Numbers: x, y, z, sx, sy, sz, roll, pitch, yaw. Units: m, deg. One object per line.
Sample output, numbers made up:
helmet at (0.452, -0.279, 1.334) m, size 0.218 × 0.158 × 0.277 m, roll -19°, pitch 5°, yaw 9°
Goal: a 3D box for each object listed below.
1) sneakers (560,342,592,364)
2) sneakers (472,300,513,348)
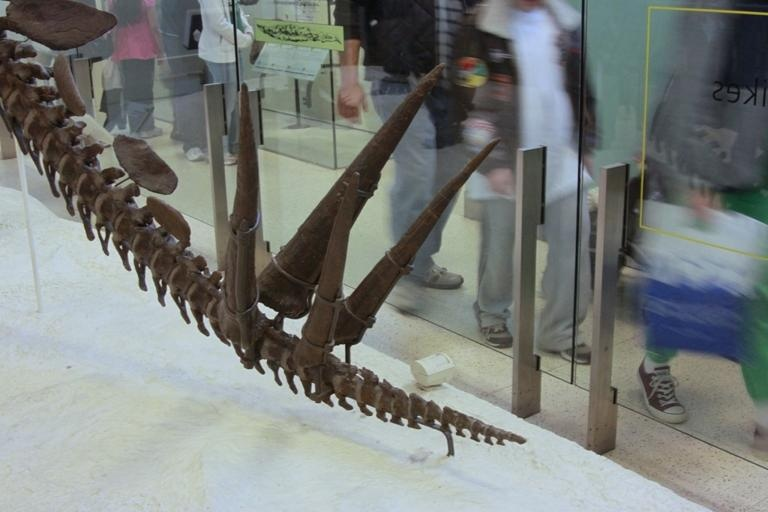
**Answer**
sneakers at (0.990, 0.504, 3.840) m, size 0.159 × 0.125 × 0.052 m, roll 11°, pitch 26°, yaw 22°
sneakers at (0.658, 0.399, 4.413) m, size 0.135 × 0.151 × 0.338 m, roll -16°, pitch 31°, yaw -10°
